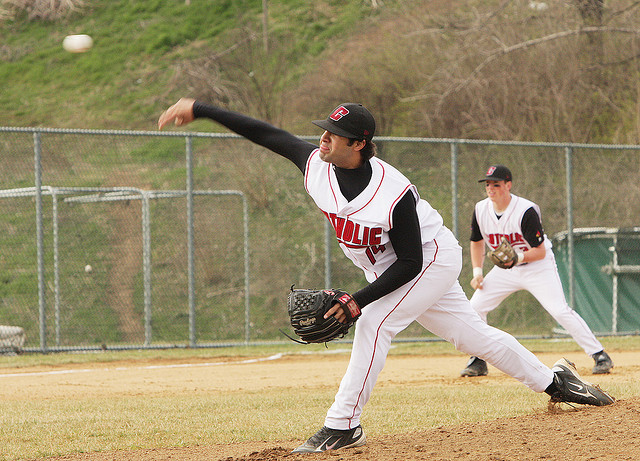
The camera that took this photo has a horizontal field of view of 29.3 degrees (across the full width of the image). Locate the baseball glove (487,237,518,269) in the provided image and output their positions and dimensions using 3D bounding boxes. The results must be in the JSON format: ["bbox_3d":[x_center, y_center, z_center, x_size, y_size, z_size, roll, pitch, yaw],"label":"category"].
[{"bbox_3d":[3.146,0.393,21.037,0.526,0.243,0.378,42,-10,-20],"label":"baseball glove"}]

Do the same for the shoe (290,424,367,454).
[{"bbox_3d":[0.219,3.180,18.741,1.002,0.402,0.408,0,-2,-10],"label":"shoe"}]

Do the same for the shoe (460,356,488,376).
[{"bbox_3d":[2.731,2.353,21.673,0.473,0.338,0.239,0,14,7],"label":"shoe"}]

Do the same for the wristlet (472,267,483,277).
[{"bbox_3d":[2.785,0.703,21.574,0.149,0.117,0.145,-1,2,-45],"label":"wristlet"}]

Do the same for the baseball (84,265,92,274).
[{"bbox_3d":[-4.402,0.706,23.223,0.109,0.145,0.051,9,4,2],"label":"baseball"}]
